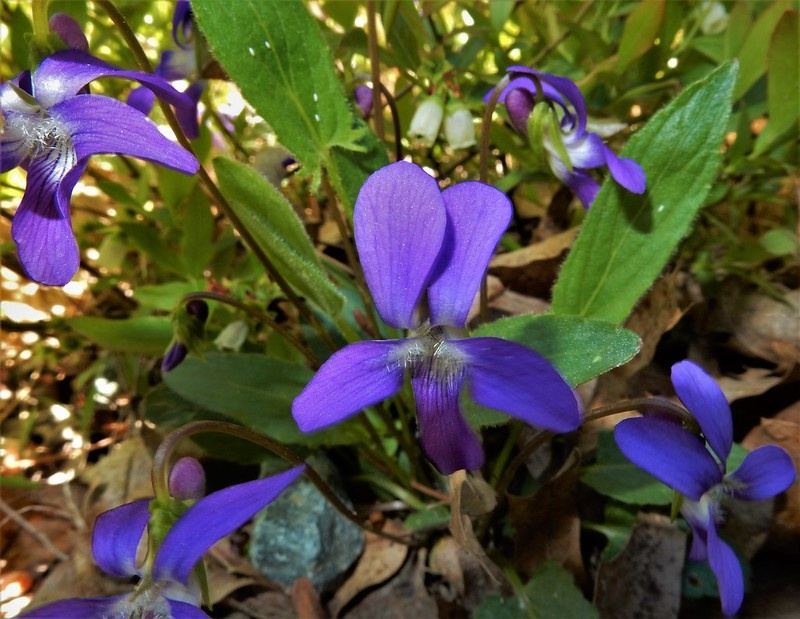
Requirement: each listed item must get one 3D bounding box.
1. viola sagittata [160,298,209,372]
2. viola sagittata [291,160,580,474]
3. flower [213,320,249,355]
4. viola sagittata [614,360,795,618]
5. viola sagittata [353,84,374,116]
[{"bbox_3d":[-0.410,0.054,1.383,0.084,0.138,0.039,41,19,34],"label":"viola sagittata"},{"bbox_3d":[0.043,0.026,1.084,0.415,0.438,0.254,-5,28,9],"label":"viola sagittata"},{"bbox_3d":[-0.376,0.060,1.626,0.056,0.041,0.080,35,74,9],"label":"flower"},{"bbox_3d":[0.563,0.350,1.319,0.147,0.349,0.295,9,52,39],"label":"viola sagittata"},{"bbox_3d":[-0.084,-0.474,1.641,0.041,0.060,0.059,-18,29,-15],"label":"viola sagittata"}]
